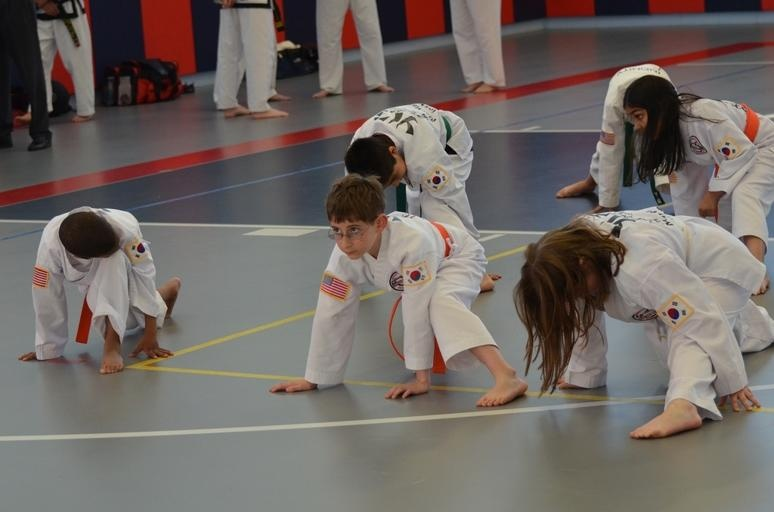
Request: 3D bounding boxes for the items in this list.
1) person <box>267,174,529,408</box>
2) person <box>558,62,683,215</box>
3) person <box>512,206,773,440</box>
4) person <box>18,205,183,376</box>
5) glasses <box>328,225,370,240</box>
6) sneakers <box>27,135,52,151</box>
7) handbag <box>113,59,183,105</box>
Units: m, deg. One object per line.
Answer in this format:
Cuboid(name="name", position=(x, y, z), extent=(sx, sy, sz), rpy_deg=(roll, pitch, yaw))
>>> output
Cuboid(name="person", position=(0.049, 0.112, 3.220), extent=(0.980, 0.863, 0.732), rpy_deg=(-2, 2, 14))
Cuboid(name="person", position=(1.498, -0.730, 4.940), extent=(0.800, 0.850, 0.317), rpy_deg=(1, 22, 3))
Cuboid(name="person", position=(0.975, 0.172, 2.798), extent=(0.898, 0.511, 0.651), rpy_deg=(-9, 0, -26))
Cuboid(name="person", position=(-1.277, 0.115, 3.800), extent=(0.502, 0.685, 1.016), rpy_deg=(2, 4, 10))
Cuboid(name="glasses", position=(-0.139, -0.086, 2.947), extent=(0.123, 0.055, 0.038), rpy_deg=(-3, 8, 13))
Cuboid(name="sneakers", position=(-3.374, -1.092, 7.652), extent=(0.112, 0.100, 0.241), rpy_deg=(1, 10, 14))
Cuboid(name="handbag", position=(-3.210, -2.283, 10.345), extent=(0.957, 0.608, 0.320), rpy_deg=(-7, 9, -19))
